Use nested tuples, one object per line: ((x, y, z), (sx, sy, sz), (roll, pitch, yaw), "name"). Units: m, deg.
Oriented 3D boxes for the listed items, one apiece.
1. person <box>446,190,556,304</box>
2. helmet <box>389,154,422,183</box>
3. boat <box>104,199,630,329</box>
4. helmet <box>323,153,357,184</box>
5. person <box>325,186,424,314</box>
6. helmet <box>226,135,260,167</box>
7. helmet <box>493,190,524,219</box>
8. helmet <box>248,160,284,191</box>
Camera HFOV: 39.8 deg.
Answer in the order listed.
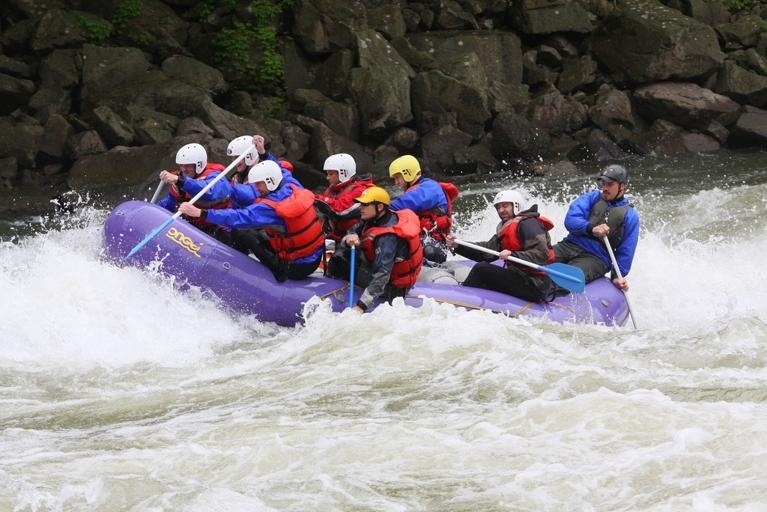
((1.872, -0.084, 16.928), (1.297, 1.004, 1.617), (31, 44, -2), "person")
((0.349, -1.410, 17.048), (0.550, 0.404, 0.384), (10, 2, -1), "helmet")
((-0.357, 0.233, 15.947), (6.281, 1.074, 2.763), (15, 2, -10), "boat")
((-0.664, -1.409, 16.835), (0.555, 0.386, 0.398), (5, 6, -12), "helmet")
((-0.072, -0.123, 15.689), (1.216, 1.811, 0.953), (-6, 10, -14), "person")
((-2.204, -1.687, 16.887), (0.538, 0.419, 0.388), (-32, 17, -5), "helmet")
((2.005, -0.863, 16.621), (0.489, 0.350, 0.366), (-26, 19, -22), "helmet")
((-1.719, -1.196, 15.793), (0.537, 0.372, 0.389), (-2, 2, -16), "helmet")
